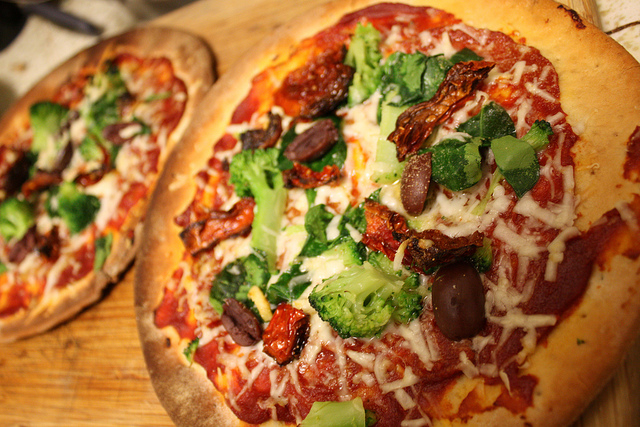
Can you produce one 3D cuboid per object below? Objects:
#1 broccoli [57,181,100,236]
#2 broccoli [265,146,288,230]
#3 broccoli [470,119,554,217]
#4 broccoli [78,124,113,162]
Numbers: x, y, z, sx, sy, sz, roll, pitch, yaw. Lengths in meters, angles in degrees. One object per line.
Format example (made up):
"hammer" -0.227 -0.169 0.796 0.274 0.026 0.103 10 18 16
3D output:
"broccoli" -1.804 -0.042 4.928 0.354 0.149 0.293 34 68 18
"broccoli" -0.277 -0.164 4.498 0.134 0.139 0.549 -4 91 -3
"broccoli" 1.157 -0.263 3.997 0.286 0.150 0.512 37 95 20
"broccoli" -1.676 -0.500 4.957 0.219 0.095 0.271 -39 68 -17
